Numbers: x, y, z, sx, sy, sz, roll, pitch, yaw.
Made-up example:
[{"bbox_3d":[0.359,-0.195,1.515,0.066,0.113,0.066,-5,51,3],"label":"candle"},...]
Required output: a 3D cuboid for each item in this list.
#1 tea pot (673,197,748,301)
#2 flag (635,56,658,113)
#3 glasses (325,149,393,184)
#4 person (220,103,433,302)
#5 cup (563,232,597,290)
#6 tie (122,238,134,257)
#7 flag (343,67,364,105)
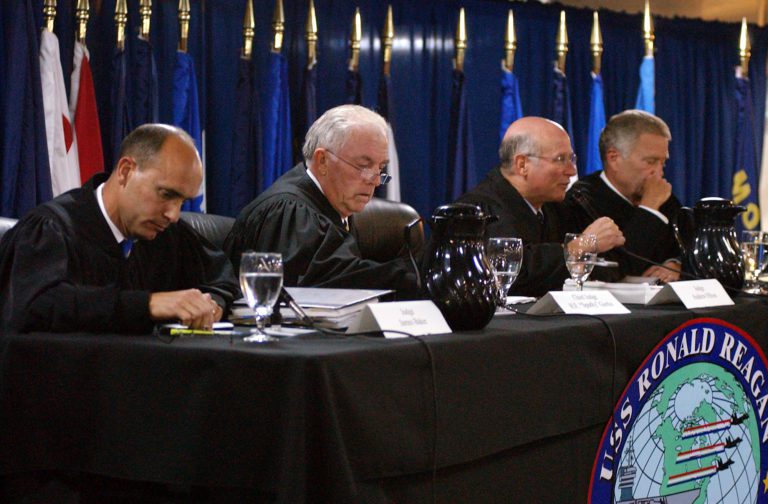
[{"bbox_3d":[1.255,-0.023,2.846,0.259,0.389,0.739,2,0,22],"label":"tea pot"},{"bbox_3d":[1.859,-1.169,5.216,0.120,0.426,0.270,2,0,-4],"label":"flag"},{"bbox_3d":[-0.086,-0.335,2.975,0.168,0.045,0.162,41,15,24],"label":"glasses"},{"bbox_3d":[-0.196,-0.240,3.044,0.769,1.086,0.678,1,8,13],"label":"person"},{"bbox_3d":[0.649,0.029,2.442,0.106,0.185,0.186,2,0,2],"label":"cup"},{"bbox_3d":[-0.852,-0.014,2.469,0.017,0.051,0.052,15,29,19],"label":"tie"},{"bbox_3d":[-0.182,-1.036,4.603,0.098,0.223,0.278,2,0,-2],"label":"flag"}]
